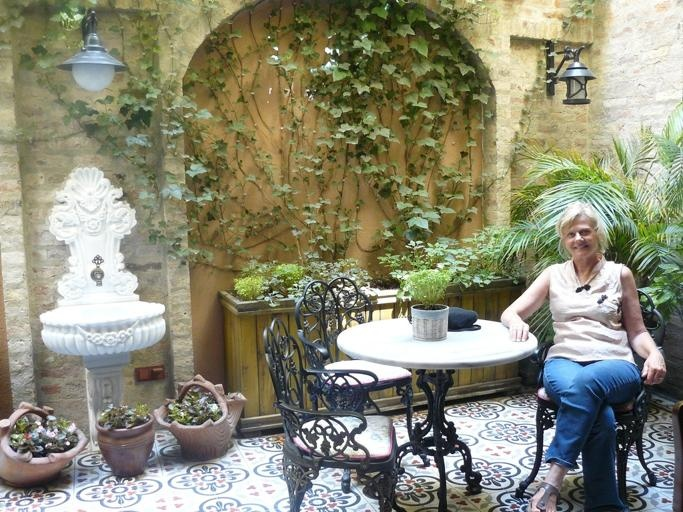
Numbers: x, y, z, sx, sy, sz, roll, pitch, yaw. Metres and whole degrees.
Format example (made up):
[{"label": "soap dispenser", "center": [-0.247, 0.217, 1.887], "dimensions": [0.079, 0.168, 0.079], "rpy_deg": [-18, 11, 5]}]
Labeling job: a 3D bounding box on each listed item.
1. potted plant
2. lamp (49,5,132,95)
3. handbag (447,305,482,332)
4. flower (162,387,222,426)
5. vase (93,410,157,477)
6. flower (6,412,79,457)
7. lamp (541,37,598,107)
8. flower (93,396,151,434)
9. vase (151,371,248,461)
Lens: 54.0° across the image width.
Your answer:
[{"label": "potted plant", "center": [0.503, 0.282, 3.935], "dimensions": [0.245, 0.408, 0.191], "rpy_deg": [-2, 8, 7]}, {"label": "lamp", "center": [-1.699, -1.381, 4.592], "dimensions": [0.626, 0.620, 0.567], "rpy_deg": [0, 11, 1]}, {"label": "handbag", "center": [0.745, 0.378, 4.094], "dimensions": [0.163, 0.049, 0.148], "rpy_deg": [-11, 26, -15]}, {"label": "flower", "center": [-1.031, 1.046, 4.650], "dimensions": [0.295, 0.112, 0.246], "rpy_deg": [3, 14, 11]}, {"label": "vase", "center": [-1.478, 1.281, 4.510], "dimensions": [0.367, 0.357, 0.334], "rpy_deg": [-9, -11, 6]}, {"label": "flower", "center": [-1.978, 1.166, 4.363], "dimensions": [0.295, 0.110, 0.312], "rpy_deg": [14, 7, 24]}, {"label": "lamp", "center": [1.873, -1.530, 5.506], "dimensions": [0.321, 0.494, 0.418], "rpy_deg": [-15, 16, -36]}, {"label": "flower", "center": [-1.516, 1.091, 4.572], "dimensions": [0.325, 0.128, 0.313], "rpy_deg": [2, -1, -11]}, {"label": "vase", "center": [-1.052, 1.081, 4.797], "dimensions": [0.599, 0.459, 0.570], "rpy_deg": [4, 12, 33]}]
